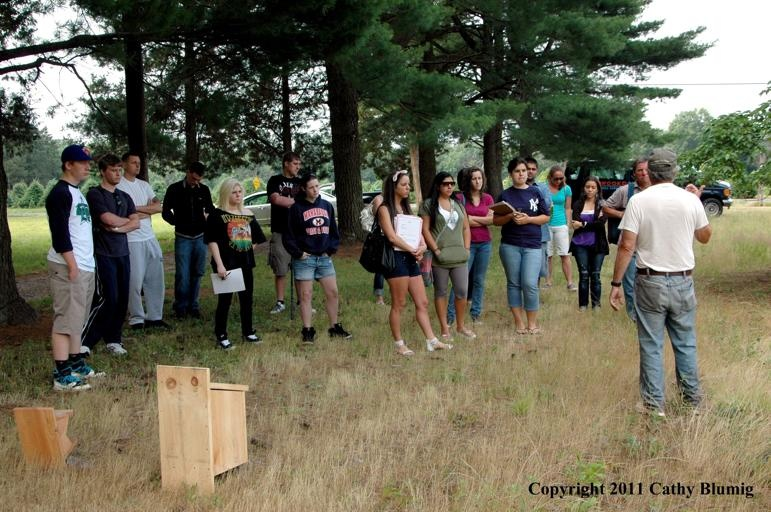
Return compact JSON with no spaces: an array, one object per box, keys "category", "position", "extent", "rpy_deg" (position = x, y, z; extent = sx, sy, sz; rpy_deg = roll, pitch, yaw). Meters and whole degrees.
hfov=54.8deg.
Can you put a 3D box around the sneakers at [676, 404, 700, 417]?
[{"category":"sneakers","position":[3.316,1.696,8.140],"extent":[0.153,0.065,0.161],"rpy_deg":[-2,0,9]}]

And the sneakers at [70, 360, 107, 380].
[{"category":"sneakers","position":[-3.668,1.401,9.204],"extent":[0.443,0.206,0.159],"rpy_deg":[2,1,-7]}]

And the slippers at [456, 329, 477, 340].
[{"category":"slippers","position":[1.193,1.134,10.661],"extent":[0.226,0.100,0.109],"rpy_deg":[-2,3,31]}]

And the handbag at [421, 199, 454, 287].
[{"category":"handbag","position":[0.642,-0.210,10.565],"extent":[0.612,1.064,0.258],"rpy_deg":[-2,5,-7]}]

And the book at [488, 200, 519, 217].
[{"category":"book","position":[1.717,-0.671,10.602],"extent":[0.328,0.202,0.313],"rpy_deg":[-3,5,-19]}]

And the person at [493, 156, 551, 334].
[{"category":"person","position":[2.020,-0.151,10.837],"extent":[0.762,2.526,0.790],"rpy_deg":[0,4,15]}]

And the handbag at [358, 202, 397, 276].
[{"category":"handbag","position":[-0.102,-0.120,9.905],"extent":[0.278,0.798,0.448],"rpy_deg":[-5,5,-44]}]

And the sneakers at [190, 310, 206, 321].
[{"category":"sneakers","position":[-2.916,0.932,11.620],"extent":[0.164,0.159,0.126],"rpy_deg":[-9,-2,8]}]

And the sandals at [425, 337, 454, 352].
[{"category":"sandals","position":[0.796,1.216,10.226],"extent":[0.435,0.211,0.148],"rpy_deg":[-4,4,-6]}]

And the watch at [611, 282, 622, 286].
[{"category":"watch","position":[2.674,0.325,8.576],"extent":[0.094,0.028,0.086],"rpy_deg":[2,-1,-41]}]

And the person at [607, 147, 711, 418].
[{"category":"person","position":[3.051,0.482,8.222],"extent":[0.959,2.518,0.492],"rpy_deg":[0,4,21]}]

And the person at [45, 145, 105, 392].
[{"category":"person","position":[-3.718,0.140,8.914],"extent":[0.545,2.899,0.454],"rpy_deg":[-4,5,-35]}]

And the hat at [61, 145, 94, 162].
[{"category":"hat","position":[-3.676,-1.206,8.880],"extent":[0.286,0.160,0.208],"rpy_deg":[-14,20,-41]}]

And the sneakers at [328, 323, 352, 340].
[{"category":"sneakers","position":[-0.649,1.081,10.646],"extent":[0.388,0.266,0.144],"rpy_deg":[0,-1,-2]}]

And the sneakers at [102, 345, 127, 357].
[{"category":"sneakers","position":[-3.576,1.222,9.888],"extent":[0.255,0.112,0.143],"rpy_deg":[17,55,21]}]

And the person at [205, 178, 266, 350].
[{"category":"person","position":[-2.059,0.093,10.332],"extent":[0.733,2.290,0.925],"rpy_deg":[-1,4,1]}]

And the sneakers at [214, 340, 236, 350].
[{"category":"sneakers","position":[-2.172,1.222,10.187],"extent":[0.246,0.103,0.107],"rpy_deg":[-5,-5,43]}]

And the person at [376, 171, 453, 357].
[{"category":"person","position":[0.360,0.078,10.108],"extent":[0.913,2.497,0.659],"rpy_deg":[1,-5,-17]}]

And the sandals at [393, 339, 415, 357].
[{"category":"sandals","position":[0.272,1.254,10.076],"extent":[0.341,0.217,0.123],"rpy_deg":[-4,-4,32]}]

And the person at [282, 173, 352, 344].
[{"category":"person","position":[-0.936,0.033,10.509],"extent":[0.797,2.326,0.741],"rpy_deg":[-1,4,10]}]

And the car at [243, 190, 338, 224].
[{"category":"car","position":[-3.467,-1.719,26.114],"extent":[3.705,1.374,1.760],"rpy_deg":[-1,3,-1]}]

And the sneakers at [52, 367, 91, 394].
[{"category":"sneakers","position":[-3.744,1.500,8.864],"extent":[0.492,0.249,0.208],"rpy_deg":[2,1,-2]}]

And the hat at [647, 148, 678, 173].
[{"category":"hat","position":[3.069,-1.053,8.188],"extent":[0.290,0.250,0.175],"rpy_deg":[0,4,20]}]

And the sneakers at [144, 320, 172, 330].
[{"category":"sneakers","position":[-3.350,1.022,11.019],"extent":[0.465,0.207,0.161],"rpy_deg":[1,-2,-9]}]
